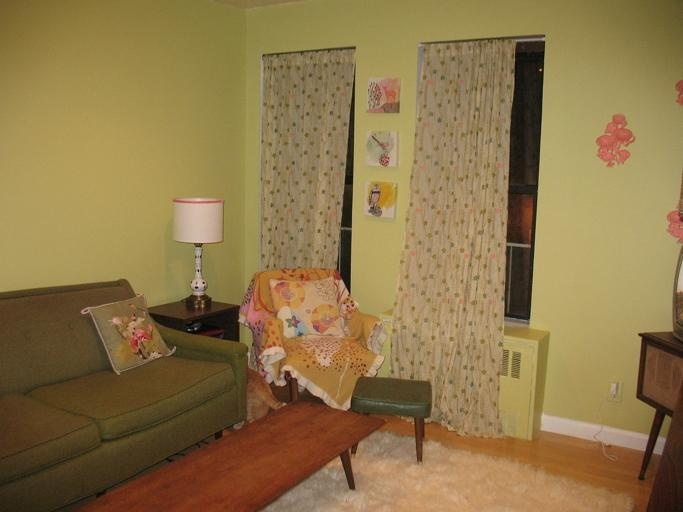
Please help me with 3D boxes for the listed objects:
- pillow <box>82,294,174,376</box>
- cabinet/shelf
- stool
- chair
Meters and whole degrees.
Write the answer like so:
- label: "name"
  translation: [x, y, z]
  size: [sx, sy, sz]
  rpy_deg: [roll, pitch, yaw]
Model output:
- label: "pillow"
  translation: [-1.507, 0.542, 4.005]
  size: [0.149, 0.489, 0.499]
  rpy_deg: [-27, 0, 30]
- label: "cabinet/shelf"
  translation: [-1.208, 0.424, 4.760]
  size: [0.389, 0.532, 0.528]
  rpy_deg: [5, 6, 29]
- label: "stool"
  translation: [0.362, 1.079, 4.113]
  size: [0.595, 0.556, 0.499]
  rpy_deg: [1, 2, 16]
- label: "chair"
  translation: [-0.257, 0.610, 4.808]
  size: [1.190, 1.125, 1.044]
  rpy_deg: [-2, 4, -28]
